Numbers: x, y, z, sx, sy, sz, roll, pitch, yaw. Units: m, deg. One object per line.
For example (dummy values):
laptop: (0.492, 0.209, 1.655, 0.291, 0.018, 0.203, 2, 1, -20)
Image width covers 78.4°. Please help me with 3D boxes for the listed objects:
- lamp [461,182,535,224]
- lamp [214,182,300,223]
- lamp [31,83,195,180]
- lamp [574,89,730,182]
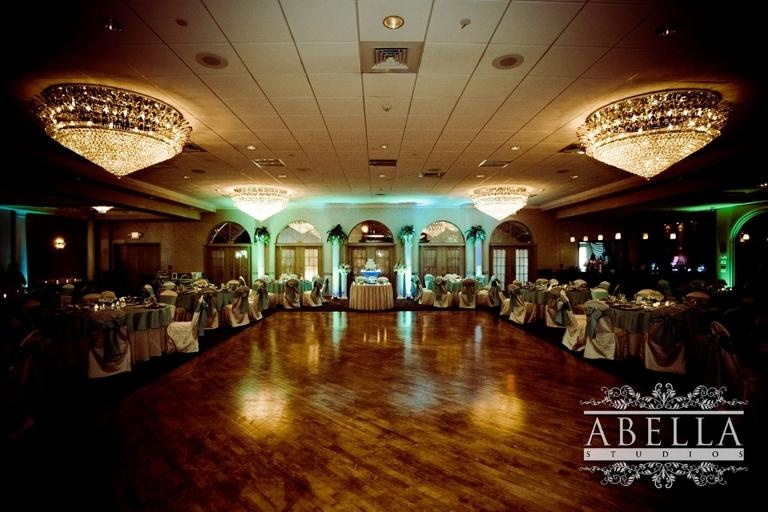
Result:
lamp: (3.536, -1.518, 14.110, 1.921, 0.930, 1.802, -1, 3, -26)
lamp: (-3.562, -1.376, 13.549, 2.011, 0.760, 1.932, 0, -6, -13)
lamp: (-4.573, -1.942, 8.251, 2.443, 0.920, 2.322, 5, -3, -30)
lamp: (4.759, -1.847, 8.557, 2.478, 1.042, 2.512, -5, -5, 35)
